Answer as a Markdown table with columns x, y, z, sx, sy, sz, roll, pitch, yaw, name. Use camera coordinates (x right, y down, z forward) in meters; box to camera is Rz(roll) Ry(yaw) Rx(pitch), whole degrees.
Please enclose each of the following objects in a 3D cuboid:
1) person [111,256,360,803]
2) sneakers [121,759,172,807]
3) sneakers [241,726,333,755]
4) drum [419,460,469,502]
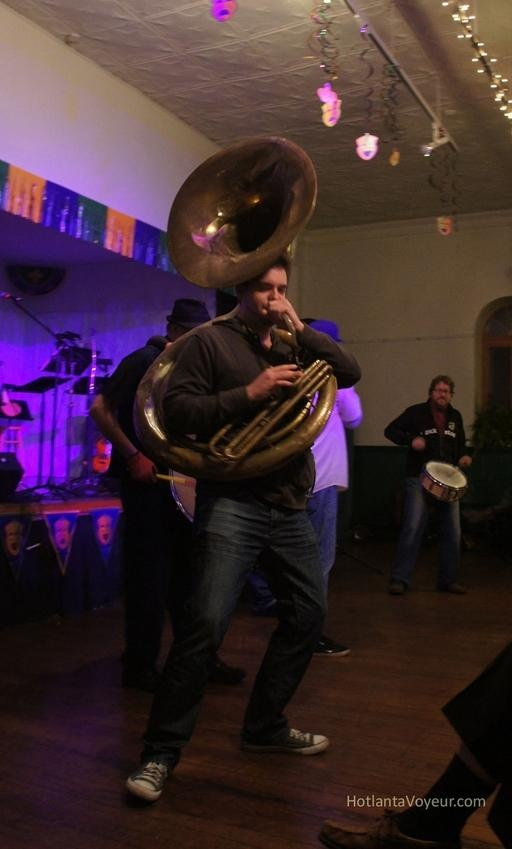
| x | y | z | sx | sy | sz | roll | pitch | yaw | name |
| --- | --- | --- | --- | --- | --- | --- | --- | --- | --- |
| -0.064 | 0.235 | 1.746 | 0.538 | 1.268 | 0.487 | 0 | -1 | 29 | person |
| -0.238 | 0.808 | 1.508 | 0.063 | 0.097 | 0.113 | -2 | -6 | 34 | sneakers |
| 0.087 | 0.866 | 1.871 | 0.244 | 0.084 | 0.085 | -3 | -7 | 0 | sneakers |
| 1.255 | 0.377 | 4.481 | 0.283 | 0.272 | 0.333 | 1 | -5 | 7 | drum |
